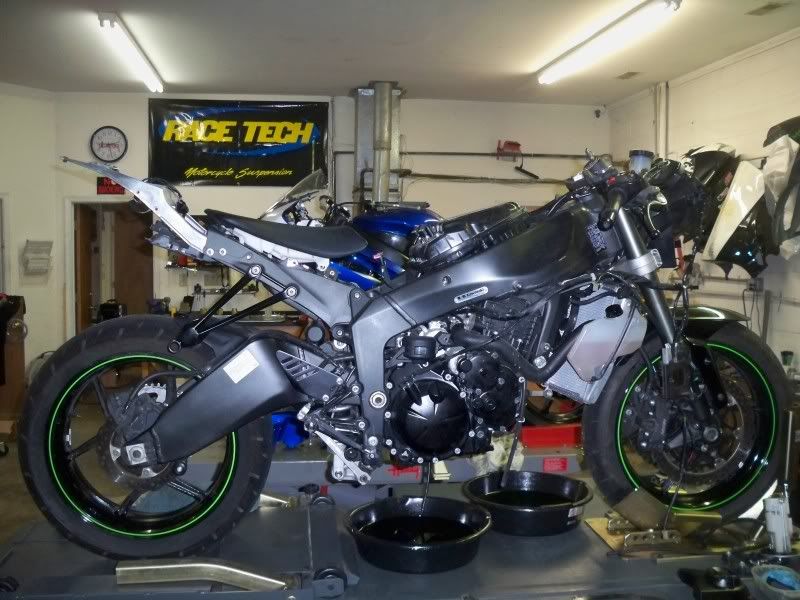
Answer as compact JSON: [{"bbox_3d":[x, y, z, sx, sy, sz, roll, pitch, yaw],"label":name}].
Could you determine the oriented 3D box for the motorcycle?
[{"bbox_3d":[0.108,0.212,2.545,3.198,1.621,0.735,-3,12,-17],"label":"motorcycle"}]

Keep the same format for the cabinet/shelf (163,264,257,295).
[{"bbox_3d":[-2.018,-0.224,6.476,0.674,0.401,0.343,2,6,-4],"label":"cabinet/shelf"}]
